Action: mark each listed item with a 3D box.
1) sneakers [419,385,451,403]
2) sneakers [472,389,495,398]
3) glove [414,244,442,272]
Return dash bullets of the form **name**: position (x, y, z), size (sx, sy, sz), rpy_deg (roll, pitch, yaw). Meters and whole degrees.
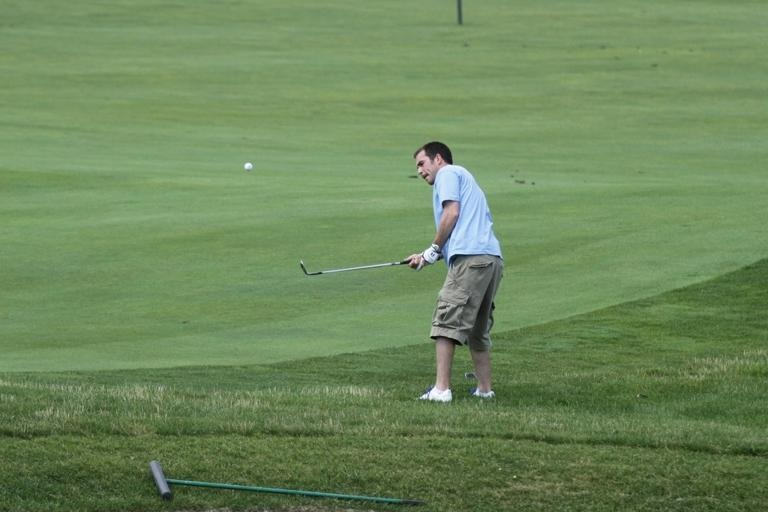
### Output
- **sneakers**: position (0.992, 2.677, 35.933), size (0.729, 0.269, 0.252), rpy_deg (1, -3, 11)
- **sneakers**: position (1.888, 2.636, 36.190), size (0.468, 0.172, 0.165), rpy_deg (5, 2, 23)
- **glove**: position (0.886, 0.057, 36.071), size (0.566, 0.341, 0.236), rpy_deg (-33, -35, 9)
